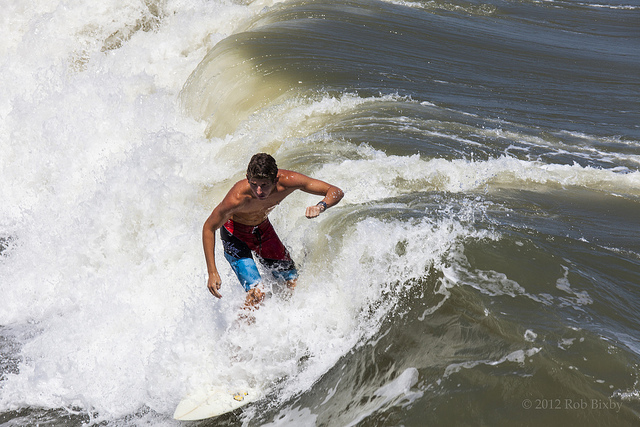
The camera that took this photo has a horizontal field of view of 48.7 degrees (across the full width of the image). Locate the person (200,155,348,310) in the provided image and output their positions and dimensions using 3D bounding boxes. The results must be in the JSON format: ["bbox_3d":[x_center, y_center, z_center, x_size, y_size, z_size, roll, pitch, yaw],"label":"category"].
[{"bbox_3d":[-0.659,0.412,11.323,1.432,2.086,1.182,-26,46,-21],"label":"person"}]

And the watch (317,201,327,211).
[{"bbox_3d":[0.038,-0.106,10.579,0.093,0.098,0.093,-41,26,-21],"label":"watch"}]

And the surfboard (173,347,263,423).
[{"bbox_3d":[-1.491,2.625,10.556,1.723,0.302,0.576,-30,57,-26],"label":"surfboard"}]
